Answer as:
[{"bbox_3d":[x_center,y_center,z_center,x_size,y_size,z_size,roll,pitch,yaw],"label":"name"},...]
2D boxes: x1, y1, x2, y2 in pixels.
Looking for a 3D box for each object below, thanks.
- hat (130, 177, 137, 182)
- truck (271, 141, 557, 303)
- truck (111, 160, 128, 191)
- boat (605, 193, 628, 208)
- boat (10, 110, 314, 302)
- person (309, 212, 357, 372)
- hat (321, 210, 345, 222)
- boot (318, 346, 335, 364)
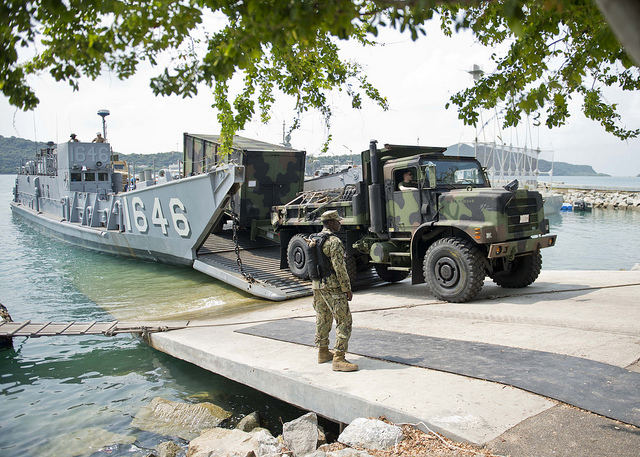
[{"bbox_3d":[-9.963,-2.563,22.459,0.370,0.252,0.348,2,-9,-21],"label":"hat"},{"bbox_3d":[1.800,-0.193,10.548,2.977,3.299,6.390,-1,-1,-42],"label":"truck"},{"bbox_3d":[-11.455,-3.078,24.303,0.651,1.857,5.587,-6,6,-25],"label":"truck"},{"bbox_3d":[33.642,-2.956,47.894,1.758,0.548,1.750,-30,32,7],"label":"boat"},{"bbox_3d":[-7.609,-1.621,17.118,16.429,5.483,4.395,7,16,35],"label":"boat"},{"bbox_3d":[0.131,0.773,5.395,0.500,1.933,0.858,-4,6,-3],"label":"person"},{"bbox_3d":[0.151,-0.179,5.590,0.253,0.100,0.164,1,3,-12],"label":"hat"},{"bbox_3d":[0.056,1.615,5.411,0.116,0.213,0.312,2,4,43],"label":"boot"}]
